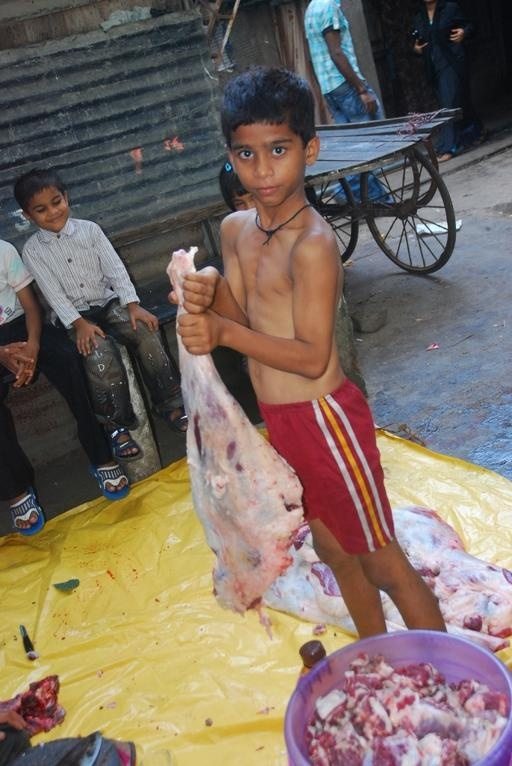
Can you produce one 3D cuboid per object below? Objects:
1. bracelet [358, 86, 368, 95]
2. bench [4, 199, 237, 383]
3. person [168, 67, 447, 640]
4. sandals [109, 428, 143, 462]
[{"bbox_3d":[1.004,-2.725,6.125,0.068,0.058,0.062,-12,12,-19],"label":"bracelet"},{"bbox_3d":[-0.731,-0.448,3.211,1.036,0.485,0.650,24,59,40],"label":"bench"},{"bbox_3d":[0.113,0.001,1.701,0.437,1.531,0.625,-15,22,13],"label":"person"},{"bbox_3d":[-0.685,0.319,3.470,0.093,0.095,0.237,-13,26,-22],"label":"sandals"}]
